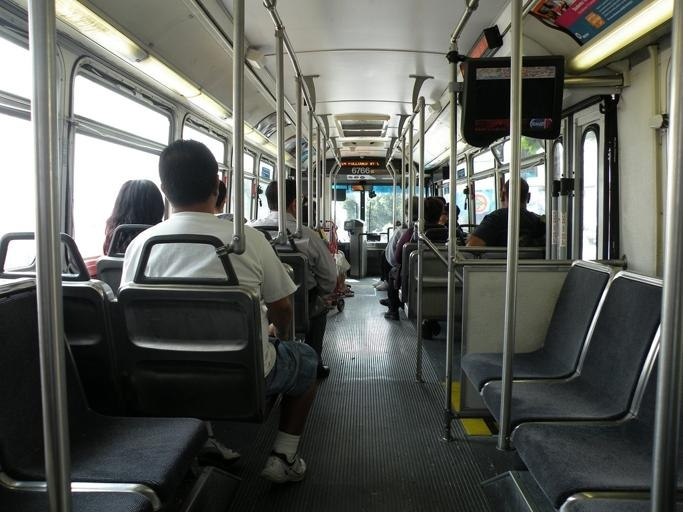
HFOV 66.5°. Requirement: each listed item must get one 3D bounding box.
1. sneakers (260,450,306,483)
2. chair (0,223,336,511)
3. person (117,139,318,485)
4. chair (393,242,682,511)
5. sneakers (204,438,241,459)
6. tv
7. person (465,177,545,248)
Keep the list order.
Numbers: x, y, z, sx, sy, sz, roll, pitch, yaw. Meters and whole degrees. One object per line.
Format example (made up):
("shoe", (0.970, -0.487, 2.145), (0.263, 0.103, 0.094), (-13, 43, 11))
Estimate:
("sneakers", (-0.330, 1.225, 3.042), (0.121, 0.150, 0.285), (0, -6, 24))
("chair", (-0.814, 0.443, 2.862), (1.414, 1.542, 0.910), (0, -5, -12))
("person", (-0.773, 0.428, 3.086), (1.039, 2.142, 1.097), (-3, -2, 18))
("chair", (1.274, 0.547, 3.110), (0.881, 0.784, 1.724), (-2, 2, 3))
("sneakers", (-0.739, 1.187, 3.215), (0.245, 0.084, 0.173), (10, 6, -4))
("tv", (0.963, -0.897, 2.964), (0.623, 0.612, 0.098), (2, 13, 10))
("person", (1.825, -0.459, 5.567), (0.921, 0.730, 0.637), (-7, 11, -38))
